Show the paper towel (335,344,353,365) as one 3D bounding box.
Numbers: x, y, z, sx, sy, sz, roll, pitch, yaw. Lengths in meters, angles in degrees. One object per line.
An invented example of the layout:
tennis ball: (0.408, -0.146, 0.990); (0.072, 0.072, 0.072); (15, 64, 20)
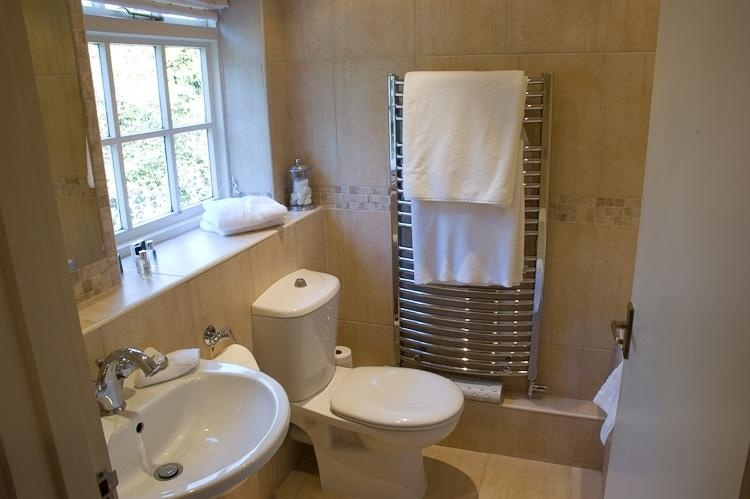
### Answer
paper towel: (-0.162, 0.523, 2.779); (0.094, 0.105, 0.097); (-10, 13, -8)

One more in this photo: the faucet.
faucet: (-0.720, 0.382, 1.629); (0.185, 0.215, 0.069); (-2, 17, -1)

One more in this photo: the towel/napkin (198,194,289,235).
towel/napkin: (-0.606, -0.158, 2.565); (0.385, 0.136, 0.239); (-8, 17, -20)

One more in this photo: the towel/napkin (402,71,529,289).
towel/napkin: (0.392, -0.294, 2.465); (0.536, 0.952, 0.202); (3, 17, 15)
